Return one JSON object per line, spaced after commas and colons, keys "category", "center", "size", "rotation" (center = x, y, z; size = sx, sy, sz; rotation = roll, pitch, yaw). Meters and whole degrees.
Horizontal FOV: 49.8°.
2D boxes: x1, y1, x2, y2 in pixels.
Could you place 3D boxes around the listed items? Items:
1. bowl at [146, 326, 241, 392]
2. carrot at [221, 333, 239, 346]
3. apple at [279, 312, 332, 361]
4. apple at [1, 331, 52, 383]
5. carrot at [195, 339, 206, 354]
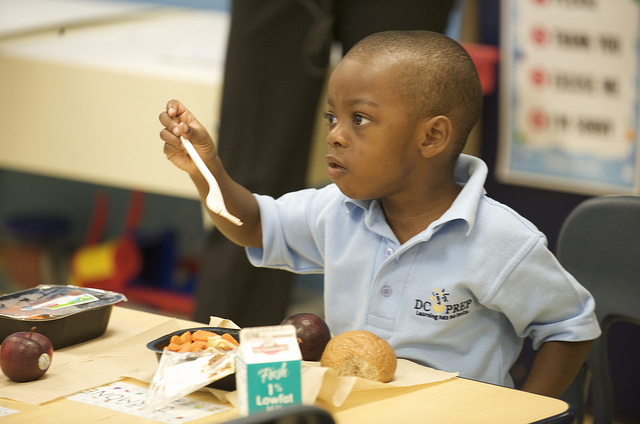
{"category": "bowl", "center": [-0.301, 0.369, 1.708], "size": [0.226, 0.097, 0.298], "rotation": [1, -1, 0]}
{"category": "carrot", "center": [-0.225, 0.326, 1.728], "size": [0.027, 0.008, 0.022], "rotation": [28, 19, -13]}
{"category": "apple", "center": [-0.042, 0.322, 1.750], "size": [0.099, 0.109, 0.129], "rotation": [-5, 60, -1]}
{"category": "apple", "center": [-0.719, 0.350, 1.724], "size": [0.112, 0.134, 0.117], "rotation": [12, 8, 31]}
{"category": "carrot", "center": [-0.292, 0.336, 1.690], "size": [0.022, 0.008, 0.021], "rotation": [15, 45, -44]}
